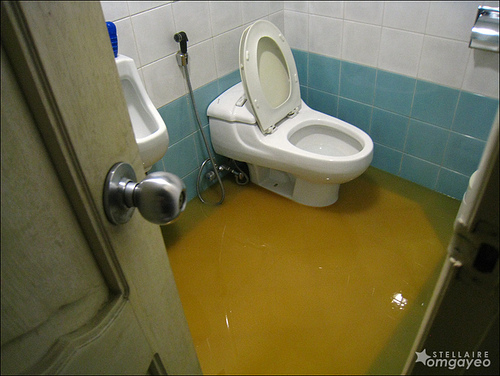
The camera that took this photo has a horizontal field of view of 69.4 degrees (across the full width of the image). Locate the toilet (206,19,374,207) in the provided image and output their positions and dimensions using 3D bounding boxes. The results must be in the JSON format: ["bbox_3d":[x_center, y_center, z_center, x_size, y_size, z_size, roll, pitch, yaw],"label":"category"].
[{"bbox_3d":[0.246,-0.368,1.911,0.844,0.901,0.507,24,45,33],"label":"toilet"}]
